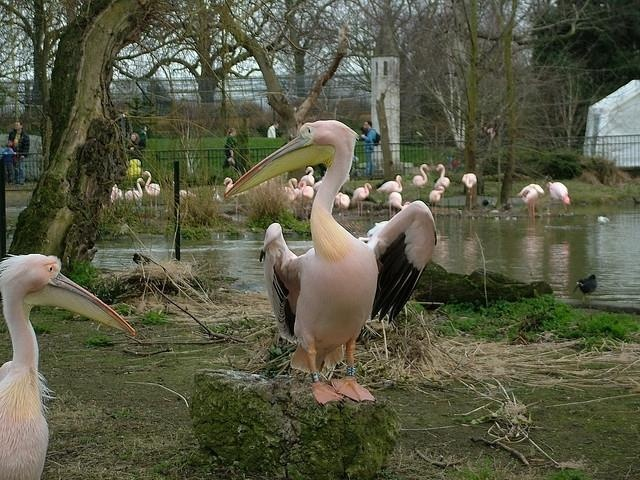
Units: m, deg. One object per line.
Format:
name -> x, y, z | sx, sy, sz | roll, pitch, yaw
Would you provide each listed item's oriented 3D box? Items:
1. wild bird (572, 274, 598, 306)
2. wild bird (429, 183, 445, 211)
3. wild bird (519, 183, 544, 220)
wild bird -> 3.786, 0.672, 12.658 | 0.459, 0.329, 0.141 | -16, 11, -40
wild bird -> 3.258, -1.177, 25.436 | 0.403, 0.618, 0.898 | 1, 10, 10
wild bird -> 6.089, -1.244, 25.216 | 0.577, 0.757, 1.687 | -5, 17, 7
